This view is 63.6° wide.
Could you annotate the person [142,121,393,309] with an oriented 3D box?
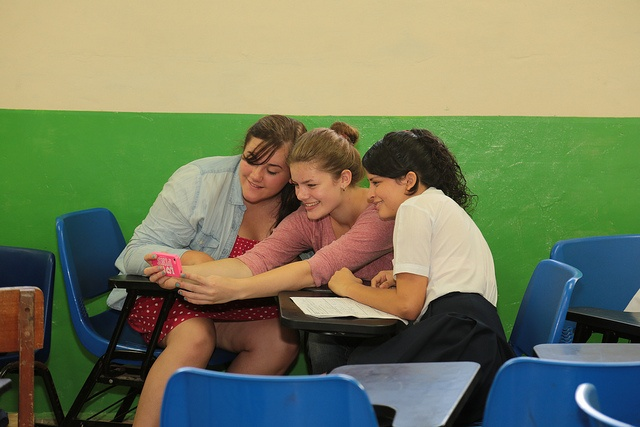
[{"bbox_3d":[-0.153,0.035,2.324,1.259,0.721,0.562,-7,12,-43],"label":"person"}]
